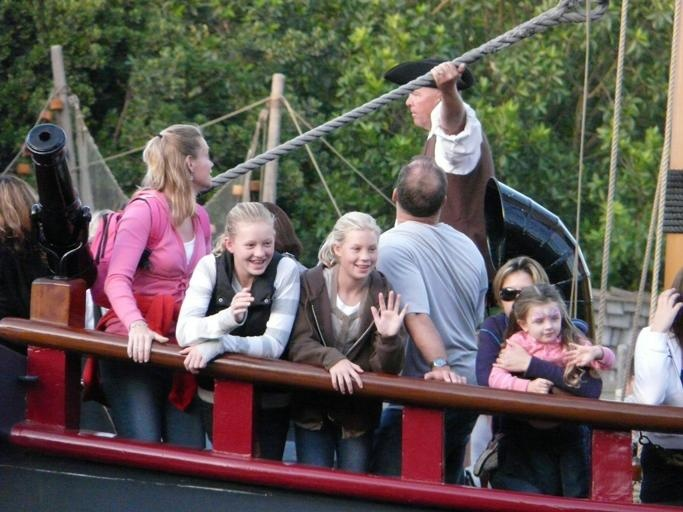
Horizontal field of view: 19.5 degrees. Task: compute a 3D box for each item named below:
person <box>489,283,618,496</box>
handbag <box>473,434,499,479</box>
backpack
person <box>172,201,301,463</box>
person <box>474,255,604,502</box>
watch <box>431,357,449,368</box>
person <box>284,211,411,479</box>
[{"bbox_3d":[1.161,0.879,11.075,0.611,1.467,0.431,-5,14,-6],"label":"person"},{"bbox_3d":[0.802,1.130,11.175,0.122,0.311,0.098,10,4,-4],"label":"handbag"},{"bbox_3d":[-1.219,-0.034,11.381,0.365,0.564,0.557,-7,-14,-7],"label":"backpack"},{"bbox_3d":[-0.577,0.403,10.994,0.677,1.342,0.406,3,-1,-5],"label":"person"},{"bbox_3d":[1.065,0.905,11.140,0.591,1.889,0.605,-2,28,15],"label":"person"},{"bbox_3d":[0.546,0.591,10.994,0.052,0.060,0.055,-3,-19,1],"label":"watch"},{"bbox_3d":[0.023,0.467,11.016,0.652,1.331,0.373,3,-1,5],"label":"person"}]
